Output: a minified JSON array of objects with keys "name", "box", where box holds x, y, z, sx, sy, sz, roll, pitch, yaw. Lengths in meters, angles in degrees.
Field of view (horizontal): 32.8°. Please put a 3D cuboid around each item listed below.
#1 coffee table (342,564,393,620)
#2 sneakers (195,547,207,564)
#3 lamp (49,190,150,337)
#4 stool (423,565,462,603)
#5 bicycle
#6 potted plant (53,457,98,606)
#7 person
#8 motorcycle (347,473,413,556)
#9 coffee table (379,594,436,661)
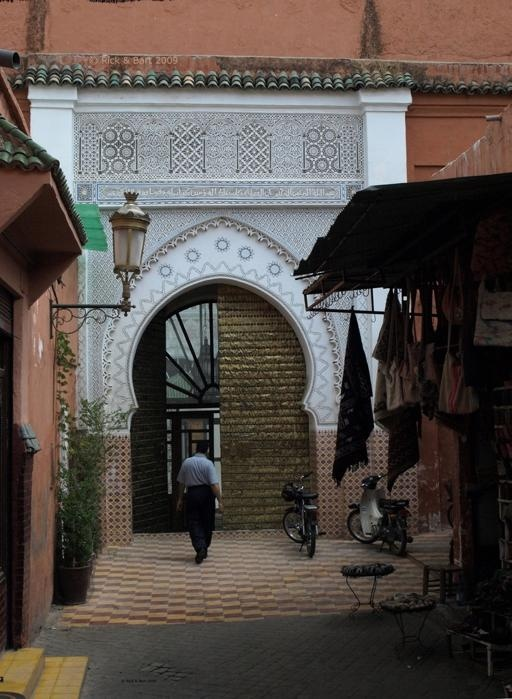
[{"name":"coffee table","box":[0.832,1.806,6.479,0.424,0.400,0.443,1,-13,-7]},{"name":"sneakers","box":[-0.532,2.050,8.698,0.070,0.183,0.121,9,8,-23]},{"name":"lamp","box":[-1.437,-0.748,7.834,0.500,1.561,1.268,10,-15,-44]},{"name":"stool","box":[1.420,1.769,6.604,0.326,0.293,0.334,4,-11,-22]},{"name":"bicycle","box":[0.514,1.780,9.527,0.323,0.724,1.323,3,1,-10]},{"name":"potted plant","box":[-1.467,1.507,7.130,0.351,1.042,0.630,-1,-4,-11]},{"name":"person","box":[-0.578,1.595,8.873,0.407,1.072,0.396,-1,-4,-12]},{"name":"motorcycle","box":[1.350,1.705,9.274,0.349,0.808,1.163,3,-5,-19]},{"name":"coffee table","box":[0.969,1.727,5.516,0.336,0.357,0.349,-1,-10,-3]}]
